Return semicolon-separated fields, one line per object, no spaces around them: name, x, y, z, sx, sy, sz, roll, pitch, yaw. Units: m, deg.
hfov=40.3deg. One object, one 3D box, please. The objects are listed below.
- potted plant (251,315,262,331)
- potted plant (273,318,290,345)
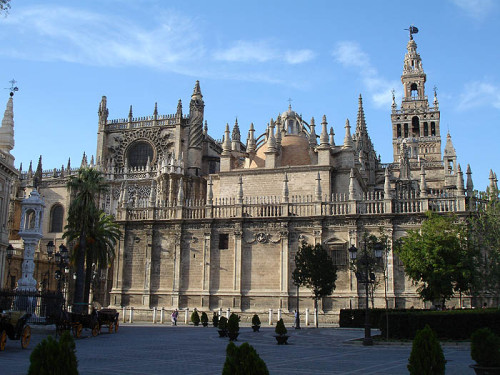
potted plant;0.372;7.978;40.129;0.451;1.016;1.179;-1;-10;-4
potted plant;1.646;7.336;34.442;1.139;1.516;1.133;1;-13;7
